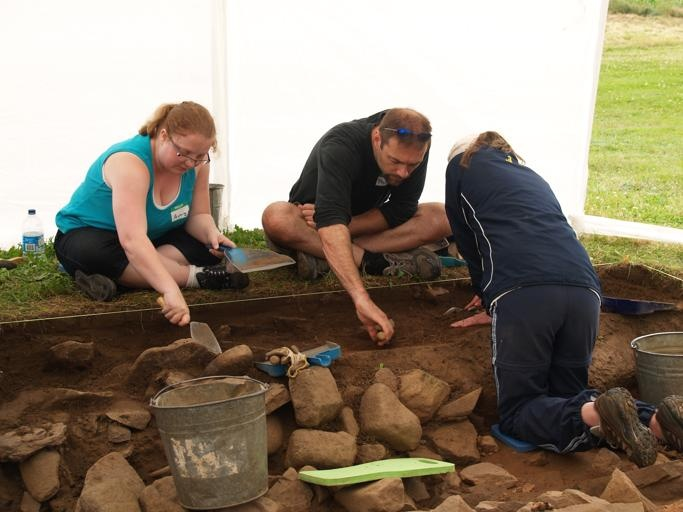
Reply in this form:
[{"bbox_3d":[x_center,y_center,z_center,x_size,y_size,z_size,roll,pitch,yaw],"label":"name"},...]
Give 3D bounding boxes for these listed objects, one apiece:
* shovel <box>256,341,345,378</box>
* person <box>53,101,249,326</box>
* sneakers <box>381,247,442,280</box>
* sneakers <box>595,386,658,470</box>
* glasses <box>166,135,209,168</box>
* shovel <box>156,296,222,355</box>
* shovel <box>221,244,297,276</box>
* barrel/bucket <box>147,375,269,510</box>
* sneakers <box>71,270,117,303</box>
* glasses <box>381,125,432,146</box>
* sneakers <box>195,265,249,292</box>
[{"bbox_3d":[-0.198,0.577,3.053,0.477,0.146,0.199,-15,21,-30],"label":"shovel"},{"bbox_3d":[-1.183,-0.331,3.535,1.203,1.105,1.492,-3,17,-28],"label":"person"},{"bbox_3d":[0.518,0.054,4.081,0.402,0.170,0.205,5,0,8],"label":"sneakers"},{"bbox_3d":[1.331,0.796,2.595,0.263,0.373,0.184,-4,20,3],"label":"sneakers"},{"bbox_3d":[-0.875,-0.628,3.336,0.174,0.197,0.330,-3,18,6],"label":"glasses"},{"bbox_3d":[-0.862,0.351,3.144,0.186,0.066,0.545,-24,40,-33],"label":"shovel"},{"bbox_3d":[-0.562,0.026,3.692,0.299,0.062,0.278,6,17,-30],"label":"shovel"},{"bbox_3d":[-0.541,0.805,2.575,0.566,0.451,0.592,-5,2,0],"label":"barrel/bucket"},{"bbox_3d":[-1.511,0.169,3.394,0.258,0.164,0.073,29,30,13],"label":"sneakers"},{"bbox_3d":[0.388,-0.731,3.387,0.297,0.107,0.127,-1,19,8],"label":"glasses"},{"bbox_3d":[-0.781,0.155,3.598,0.290,0.110,0.161,1,1,-14],"label":"sneakers"}]
